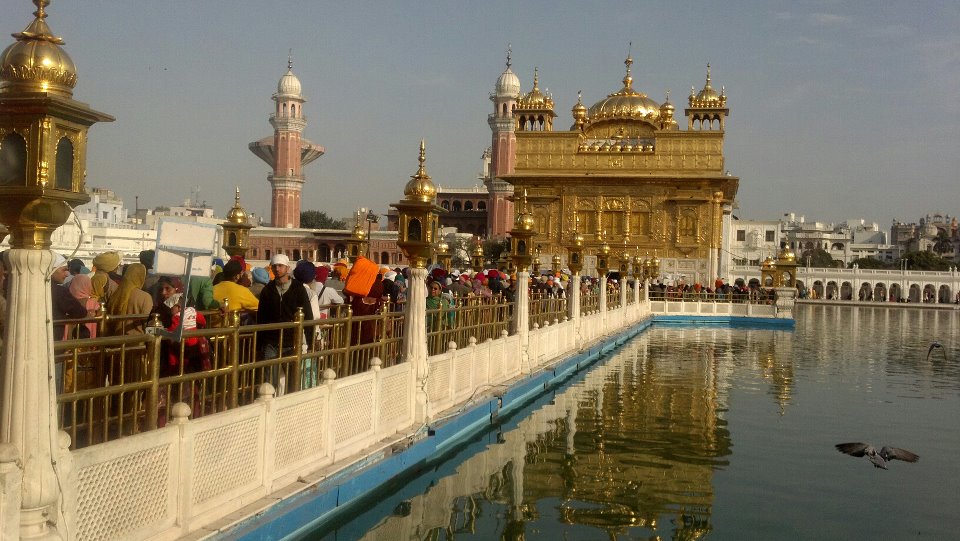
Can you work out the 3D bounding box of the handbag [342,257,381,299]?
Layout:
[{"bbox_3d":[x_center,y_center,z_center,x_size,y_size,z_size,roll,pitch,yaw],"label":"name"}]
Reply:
[{"bbox_3d":[-1.661,0.132,14.640,0.506,0.536,0.184,17,-15,7],"label":"handbag"}]

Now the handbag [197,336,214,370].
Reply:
[{"bbox_3d":[-3.247,0.955,12.053,0.143,0.390,0.461,0,2,-15],"label":"handbag"}]
